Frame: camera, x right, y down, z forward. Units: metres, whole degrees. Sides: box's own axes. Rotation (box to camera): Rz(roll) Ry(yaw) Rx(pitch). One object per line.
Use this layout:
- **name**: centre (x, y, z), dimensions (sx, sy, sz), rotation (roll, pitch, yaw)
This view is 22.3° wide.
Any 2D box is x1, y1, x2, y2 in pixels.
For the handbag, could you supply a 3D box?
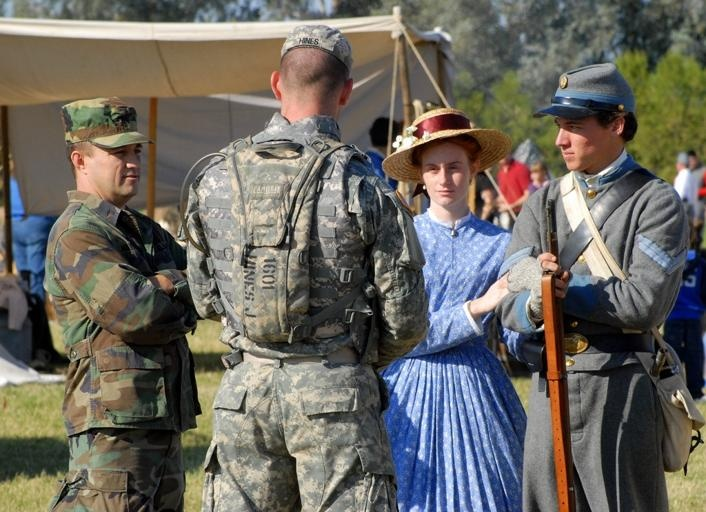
- **handbag**: centre (3.631, 1.892, 20.196), dimensions (0.739, 0.939, 0.435), rotation (-7, 0, 32)

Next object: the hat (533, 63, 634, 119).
- **hat**: centre (2.658, -1.804, 20.321), dimensions (0.846, 0.375, 0.625), rotation (0, -3, -22)
